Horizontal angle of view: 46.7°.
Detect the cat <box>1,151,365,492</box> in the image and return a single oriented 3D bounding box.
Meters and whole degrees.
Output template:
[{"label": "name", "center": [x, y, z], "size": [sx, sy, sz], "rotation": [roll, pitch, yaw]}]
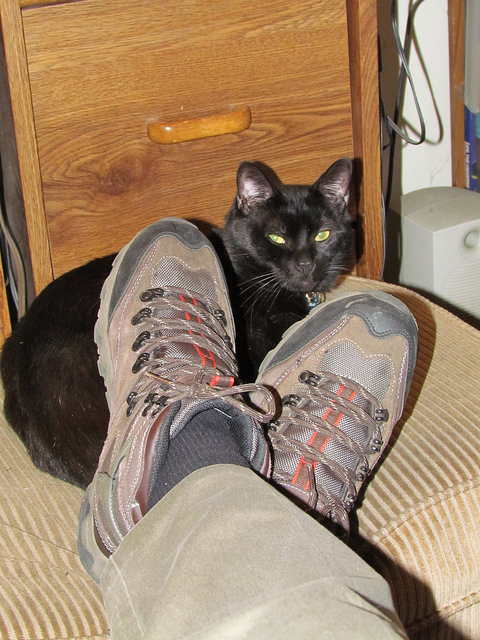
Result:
[{"label": "cat", "center": [-0.103, -0.006, 0.865], "size": [0.532, 0.330, 0.181], "rotation": [-36, 79, -15]}]
